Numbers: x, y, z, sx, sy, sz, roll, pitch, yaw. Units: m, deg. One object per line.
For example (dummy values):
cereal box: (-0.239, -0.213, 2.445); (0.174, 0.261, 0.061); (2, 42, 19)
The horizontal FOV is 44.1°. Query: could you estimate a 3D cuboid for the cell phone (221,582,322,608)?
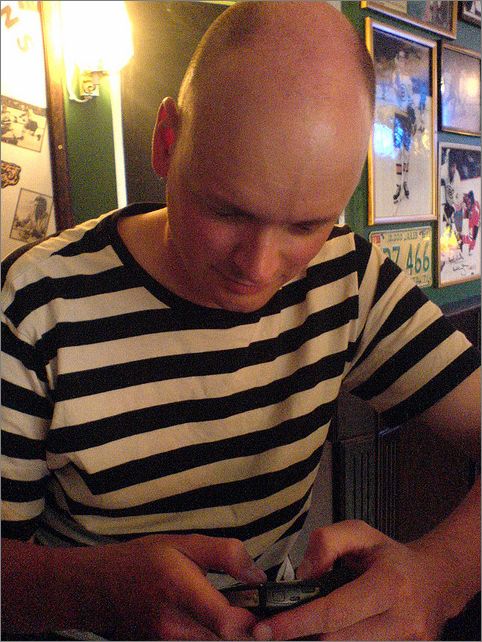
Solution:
cell phone: (0.033, 0.273, 0.592); (0.097, 0.014, 0.045); (-2, 7, 2)
